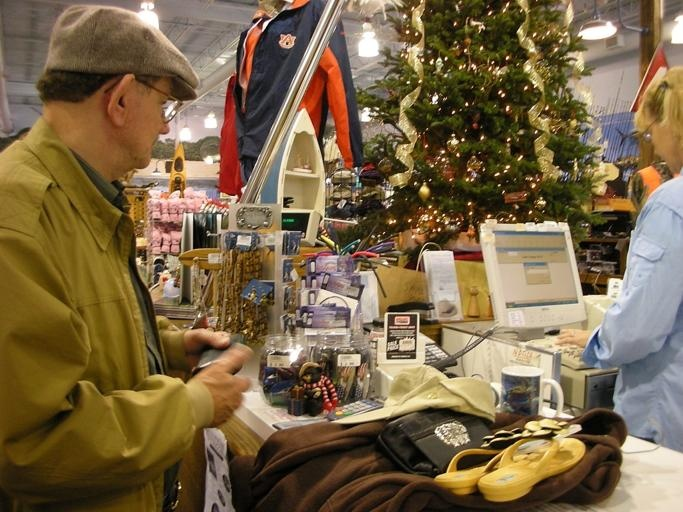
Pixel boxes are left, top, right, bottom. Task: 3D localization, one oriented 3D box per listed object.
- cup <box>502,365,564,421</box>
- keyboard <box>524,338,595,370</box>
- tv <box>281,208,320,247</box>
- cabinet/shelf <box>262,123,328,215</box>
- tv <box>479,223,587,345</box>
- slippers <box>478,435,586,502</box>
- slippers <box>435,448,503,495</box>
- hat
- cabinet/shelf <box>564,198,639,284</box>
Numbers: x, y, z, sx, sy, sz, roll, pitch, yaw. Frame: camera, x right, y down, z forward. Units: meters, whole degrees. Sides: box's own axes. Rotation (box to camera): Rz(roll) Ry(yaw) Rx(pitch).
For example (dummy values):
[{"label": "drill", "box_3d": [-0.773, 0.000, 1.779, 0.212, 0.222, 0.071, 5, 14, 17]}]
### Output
[{"label": "cup", "box_3d": [0.711, 0.454, 1.663, 0.224, 0.213, 0.138, 4, 3, 40]}, {"label": "keyboard", "box_3d": [1.069, 0.431, 2.242, 0.215, 0.075, 0.241, -19, 4, 38]}, {"label": "tv", "box_3d": [-0.283, -0.247, 3.460, 0.359, 0.272, 0.236, 5, 2, 1]}, {"label": "cabinet/shelf", "box_3d": [-0.411, -0.758, 4.005, 0.458, 0.779, 0.995, 0, -6, 5]}, {"label": "tv", "box_3d": [0.951, 0.146, 2.337, 0.579, 0.579, 0.160, 1, -14, -34]}, {"label": "slippers", "box_3d": [0.498, 0.529, 1.206, 0.305, 0.073, 0.123, -16, 7, -38]}, {"label": "slippers", "box_3d": [0.334, 0.545, 1.201, 0.241, 0.086, 0.091, 6, -8, -43]}, {"label": "hat", "box_3d": [-0.611, -0.546, 1.305, 0.363, 0.181, 0.249, 0, 11, -39]}, {"label": "cabinet/shelf", "box_3d": [3.471, -0.305, 6.553, 0.847, 0.838, 0.597, -8, -8, 27]}]
